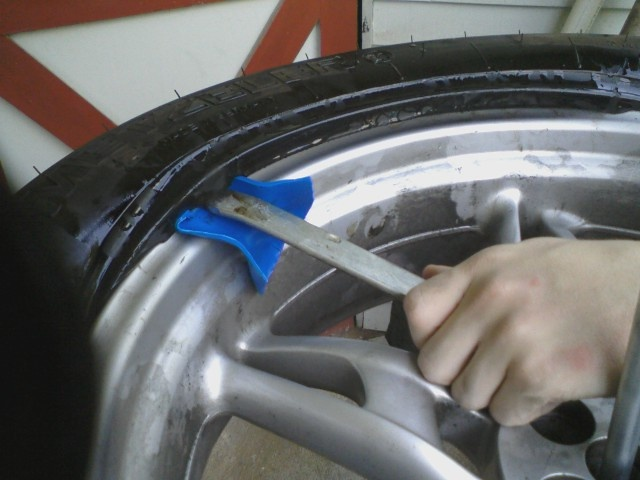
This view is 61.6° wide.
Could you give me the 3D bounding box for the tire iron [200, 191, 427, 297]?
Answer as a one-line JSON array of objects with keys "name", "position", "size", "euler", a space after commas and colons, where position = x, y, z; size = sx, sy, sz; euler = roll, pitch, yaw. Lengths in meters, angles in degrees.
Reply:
[{"name": "tire iron", "position": [0.002, 0.005, 0.700], "size": [0.336, 0.029, 0.059], "euler": [25, 65, -24]}]
